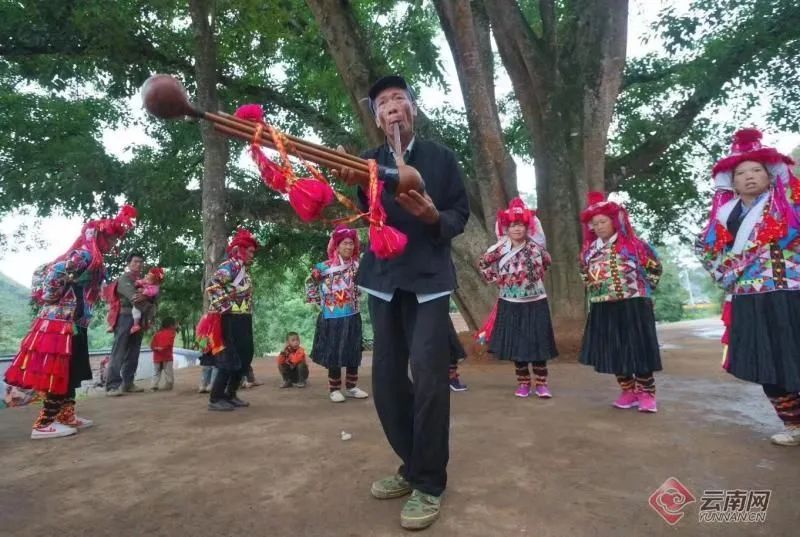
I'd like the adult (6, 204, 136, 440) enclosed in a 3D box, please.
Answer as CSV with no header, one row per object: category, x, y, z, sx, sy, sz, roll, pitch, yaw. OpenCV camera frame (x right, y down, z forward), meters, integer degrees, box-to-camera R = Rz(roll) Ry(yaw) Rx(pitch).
adult,-3.989,0.679,6.362,0.649,2.555,1.267,2,10,23

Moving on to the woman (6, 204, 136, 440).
woman,-3.987,0.674,6.366,0.649,2.546,1.278,2,10,23

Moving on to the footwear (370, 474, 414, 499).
footwear,-0.068,1.852,4.525,0.342,0.139,0.169,3,-1,-15

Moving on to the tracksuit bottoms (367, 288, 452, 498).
tracksuit bottoms,0.087,1.013,4.391,0.659,1.638,0.498,-1,10,4

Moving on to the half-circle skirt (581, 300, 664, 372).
half-circle skirt,2.677,0.811,6.473,0.891,0.911,0.545,1,10,17

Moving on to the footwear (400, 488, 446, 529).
footwear,0.172,1.917,4.241,0.358,0.229,0.250,-3,9,-6
